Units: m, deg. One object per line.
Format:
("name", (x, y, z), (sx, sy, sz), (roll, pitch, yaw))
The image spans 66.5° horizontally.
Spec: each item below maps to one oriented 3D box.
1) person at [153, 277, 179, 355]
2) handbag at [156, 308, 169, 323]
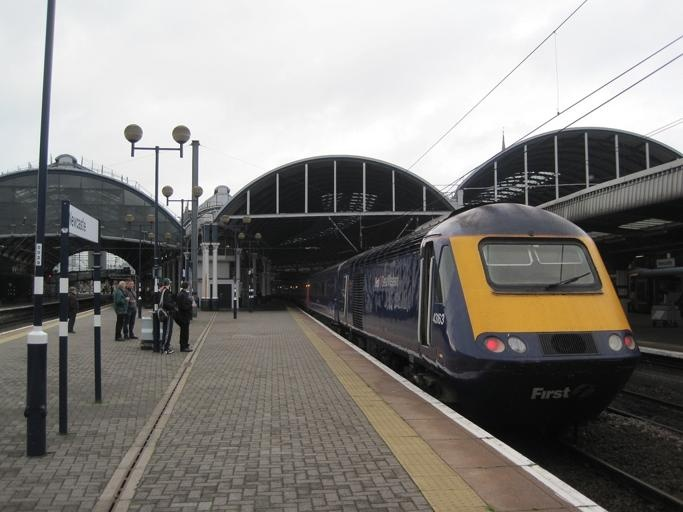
("person", (-4.920, 1.815, 14.566), (0.551, 1.837, 0.972), (-2, -3, -20))
("handbag", (-4.885, 1.664, 14.216), (0.244, 0.322, 0.333), (5, -10, -42))
